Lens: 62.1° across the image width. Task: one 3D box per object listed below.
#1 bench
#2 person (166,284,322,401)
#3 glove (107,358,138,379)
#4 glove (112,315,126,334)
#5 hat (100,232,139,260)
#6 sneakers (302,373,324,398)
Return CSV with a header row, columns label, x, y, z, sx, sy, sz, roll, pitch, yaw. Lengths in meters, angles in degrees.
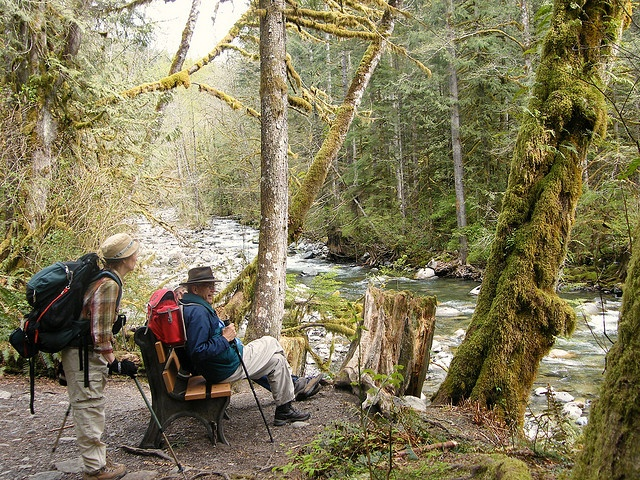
label,x,y,z,sx,sy,sz,roll,pitch,yaw
bench,-1.733,1.933,8.026,1.261,1.617,2.177,-3,2,5
person,-1.080,1.725,8.031,2.276,1.137,1.131,12,-10,-14
glove,-2.522,1.613,6.750,0.318,0.252,0.153,22,-8,-22
glove,-2.583,1.063,6.760,0.053,0.222,0.135,19,-2,30
hat,-2.583,0.128,6.766,0.365,0.171,0.351,-12,27,14
sneakers,-0.111,2.208,8.169,0.184,0.154,0.434,23,38,12
